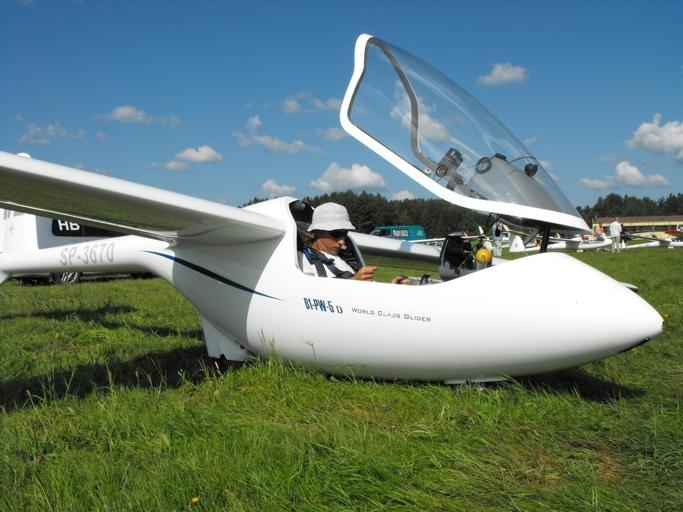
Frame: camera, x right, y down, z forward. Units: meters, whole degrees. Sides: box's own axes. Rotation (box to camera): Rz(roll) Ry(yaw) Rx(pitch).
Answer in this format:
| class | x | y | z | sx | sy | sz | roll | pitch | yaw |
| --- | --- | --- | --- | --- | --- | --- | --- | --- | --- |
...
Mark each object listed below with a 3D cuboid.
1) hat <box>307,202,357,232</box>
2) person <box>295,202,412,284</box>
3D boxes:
| class | x | y | z | sx | sy | sz | roll | pitch | yaw |
| --- | --- | --- | --- | --- | --- | --- | --- | --- | --- |
| hat | -0.086 | -0.332 | 4.039 | 0.289 | 0.139 | 0.315 | 1 | -5 | -36 |
| person | 0.086 | -0.123 | 4.176 | 1.344 | 0.591 | 0.812 | 4 | 8 | 2 |
